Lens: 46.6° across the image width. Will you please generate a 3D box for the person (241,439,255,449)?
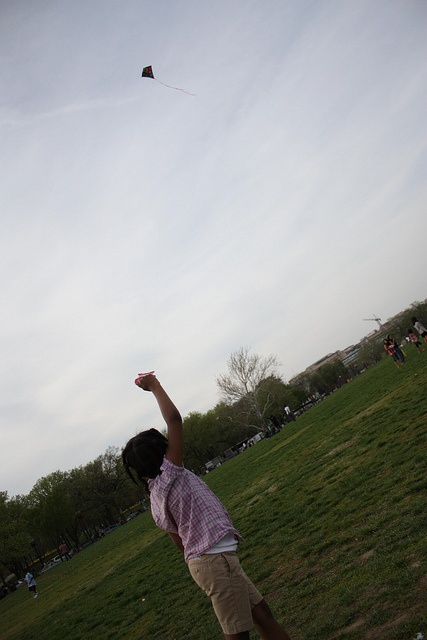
[{"bbox_3d":[3.408,13.225,52.797,1.245,0.599,2.069,-34,1,-3],"label":"person"}]
